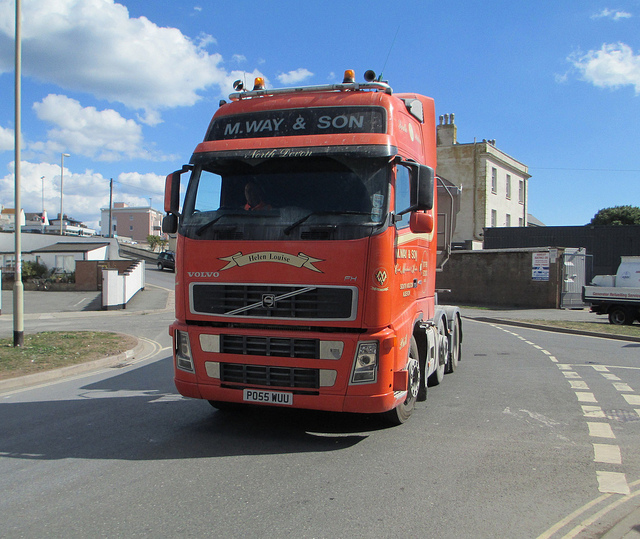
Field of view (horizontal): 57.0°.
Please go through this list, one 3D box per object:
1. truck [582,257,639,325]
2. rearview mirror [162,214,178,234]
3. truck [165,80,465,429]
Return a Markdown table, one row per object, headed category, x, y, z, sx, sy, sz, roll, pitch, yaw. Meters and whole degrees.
| category | x | y | z | sx | sy | sz | roll | pitch | yaw |
| --- | --- | --- | --- | --- | --- | --- | --- | --- | --- |
| truck | 11.301 | 0.806 | 22.306 | 2.484 | 1.648 | 1.833 | 0 | 0 | 33 |
| rearview mirror | -1.895 | -0.588 | 7.446 | 0.336 | 0.236 | 0.168 | 3 | 4 | 41 |
| truck | 0.642 | -0.156 | 10.657 | 3.315 | 4.425 | 8.273 | 1 | -2 | 16 |
